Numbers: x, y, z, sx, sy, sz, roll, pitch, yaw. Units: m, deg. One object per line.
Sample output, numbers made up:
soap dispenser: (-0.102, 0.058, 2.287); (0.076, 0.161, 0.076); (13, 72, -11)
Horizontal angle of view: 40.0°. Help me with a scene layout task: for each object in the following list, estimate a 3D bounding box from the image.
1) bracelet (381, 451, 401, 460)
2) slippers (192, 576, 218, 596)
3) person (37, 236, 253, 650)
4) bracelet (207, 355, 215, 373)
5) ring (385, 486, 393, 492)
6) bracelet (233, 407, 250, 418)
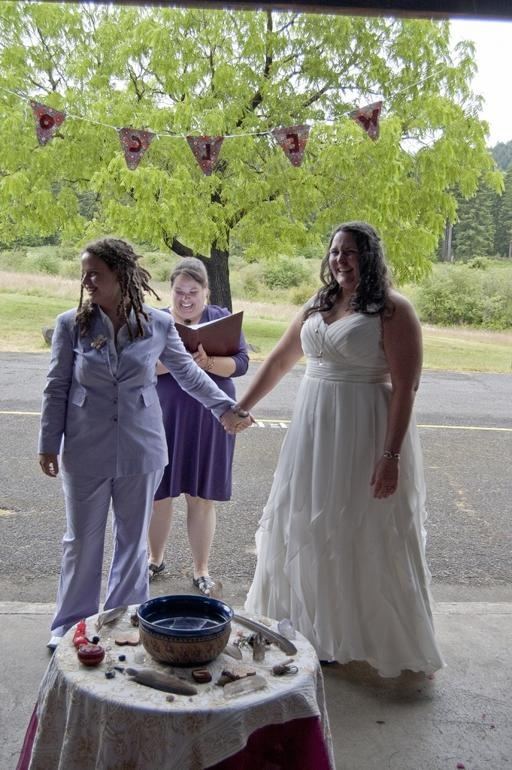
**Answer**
bracelet: (0.552, 0.292, 2.901); (0.066, 0.040, 0.045); (4, 6, 5)
slippers: (-0.276, 1.089, 3.799); (0.097, 0.076, 0.247); (2, -14, -18)
person: (-0.568, 0.275, 3.095); (0.732, 1.801, 0.345); (2, 8, -16)
bracelet: (-0.245, -0.115, 3.809); (0.063, 0.074, 0.029); (-5, -8, -13)
ring: (0.550, 0.429, 2.909); (0.022, 0.009, 0.027); (-5, 8, 8)
bracelet: (-0.067, 0.123, 3.193); (0.047, 0.028, 0.063); (31, 5, 17)
